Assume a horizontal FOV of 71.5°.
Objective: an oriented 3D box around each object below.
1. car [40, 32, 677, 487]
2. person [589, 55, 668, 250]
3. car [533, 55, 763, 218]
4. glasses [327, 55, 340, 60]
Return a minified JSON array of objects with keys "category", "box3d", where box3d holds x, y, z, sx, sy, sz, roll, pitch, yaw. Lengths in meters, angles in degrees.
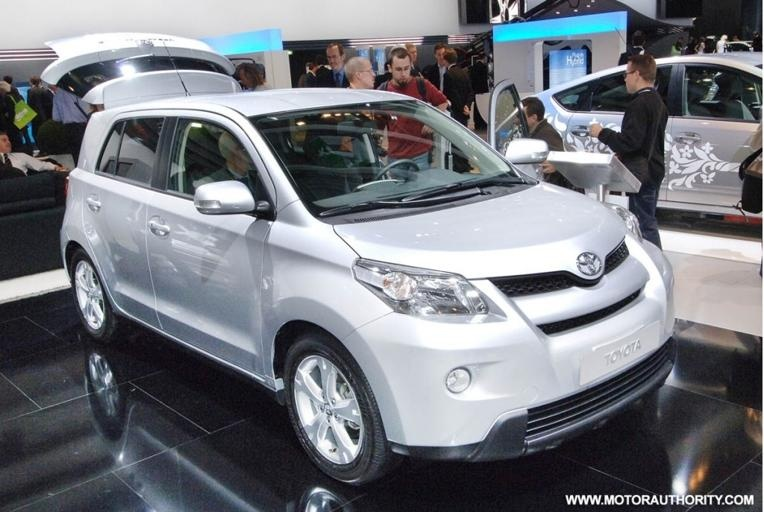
[{"category":"car","box3d":[-0.492,-0.077,3.490,2.049,1.860,3.661,-15,22,-41]},{"category":"person","box3d":[2.445,-0.813,5.216,0.606,2.164,0.730,4,14,39]},{"category":"car","box3d":[3.151,-1.495,6.454,2.365,1.151,1.408,3,17,34]},{"category":"glasses","box3d":[-0.669,-2.789,7.393,0.090,0.052,0.120,1,5,18]}]
